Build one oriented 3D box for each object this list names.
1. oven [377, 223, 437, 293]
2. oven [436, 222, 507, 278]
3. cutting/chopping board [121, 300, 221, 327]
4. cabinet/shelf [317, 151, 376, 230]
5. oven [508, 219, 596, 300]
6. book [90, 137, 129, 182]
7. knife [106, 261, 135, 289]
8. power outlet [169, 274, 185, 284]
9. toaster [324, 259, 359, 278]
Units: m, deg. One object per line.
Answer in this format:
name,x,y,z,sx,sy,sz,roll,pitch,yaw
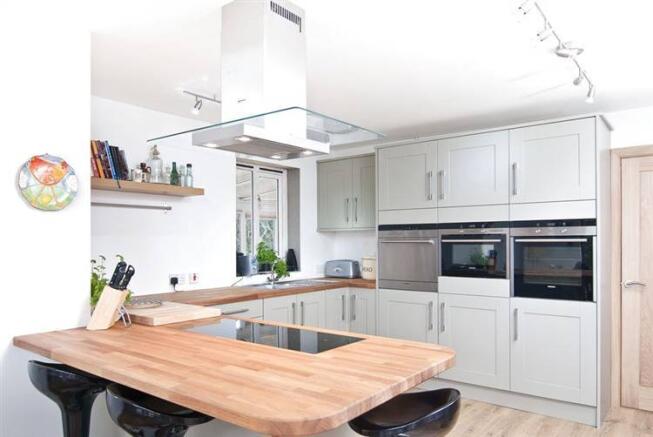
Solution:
oven,1.017,0.461,5.213,0.934,0.886,0.745,-3,-7,36
oven,1.582,0.354,4.719,0.863,0.688,0.566,-4,-10,35
cutting/chopping board,-1.190,0.686,3.155,0.643,0.076,0.518,3,4,41
cabinet/shelf,0.297,-0.341,5.651,1.210,1.008,0.466,-2,-2,35
oven,2.432,0.490,4.292,0.653,0.854,0.839,9,-9,-32
book,-1.944,-0.485,4.005,0.368,0.407,0.464,-7,-3,-9
knife,-1.381,0.390,2.909,0.163,0.212,0.234,1,4,2
power outlet,-1.570,0.637,4.452,0.013,0.068,0.124,-3,-6,33
toaster,0.205,0.693,5.797,0.519,0.249,0.265,1,4,7
